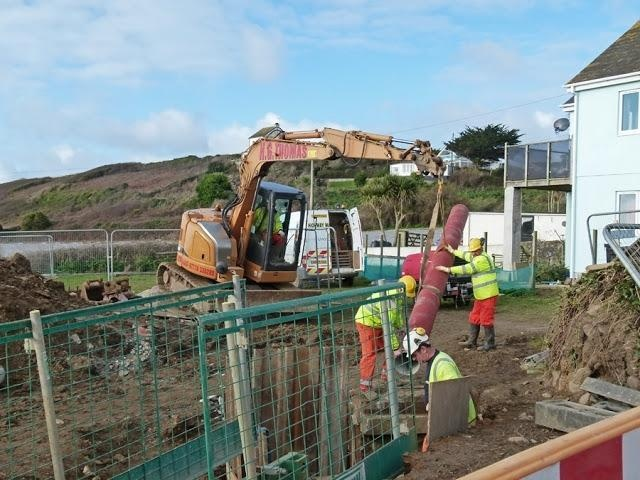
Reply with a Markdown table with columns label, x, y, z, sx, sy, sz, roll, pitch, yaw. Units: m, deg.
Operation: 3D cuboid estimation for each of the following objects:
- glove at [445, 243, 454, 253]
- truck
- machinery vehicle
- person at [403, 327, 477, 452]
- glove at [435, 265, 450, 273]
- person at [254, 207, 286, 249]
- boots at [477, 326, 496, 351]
| label | x | y | z | sx | sy | sz | roll | pitch | yaw |
| --- | --- | --- | --- | --- | --- | --- | --- | --- | --- |
| glove | 2.223 | 0.143 | 9.685 | 0.141 | 0.139 | 0.251 | -2 | 3 | 22 |
| truck | 0.365 | 0.244 | 18.970 | 1.897 | 1.766 | 3.149 | -1 | 3 | -10 |
| machinery vehicle | -0.621 | -0.398 | 11.907 | 2.976 | 3.842 | 7.096 | 4 | 4 | -43 |
| person | 1.331 | 1.600 | 6.280 | 0.795 | 1.436 | 1.444 | -3 | 2 | 8 |
| glove | 2.015 | 0.489 | 9.309 | 0.220 | 0.113 | 0.120 | -3 | 2 | 4 |
| person | -1.115 | -0.322 | 12.831 | 0.868 | 0.806 | 0.360 | 2 | 0 | 13 |
| boots | 3.013 | 1.774 | 10.311 | 0.293 | 0.434 | 0.265 | -1 | 3 | 42 |
